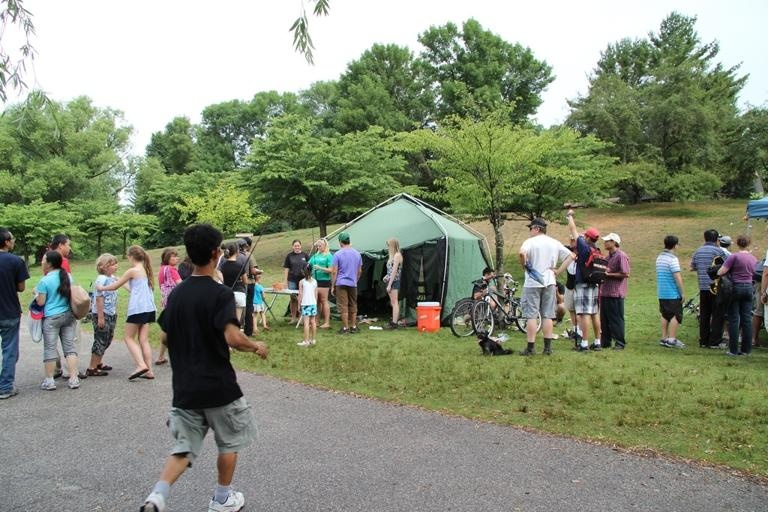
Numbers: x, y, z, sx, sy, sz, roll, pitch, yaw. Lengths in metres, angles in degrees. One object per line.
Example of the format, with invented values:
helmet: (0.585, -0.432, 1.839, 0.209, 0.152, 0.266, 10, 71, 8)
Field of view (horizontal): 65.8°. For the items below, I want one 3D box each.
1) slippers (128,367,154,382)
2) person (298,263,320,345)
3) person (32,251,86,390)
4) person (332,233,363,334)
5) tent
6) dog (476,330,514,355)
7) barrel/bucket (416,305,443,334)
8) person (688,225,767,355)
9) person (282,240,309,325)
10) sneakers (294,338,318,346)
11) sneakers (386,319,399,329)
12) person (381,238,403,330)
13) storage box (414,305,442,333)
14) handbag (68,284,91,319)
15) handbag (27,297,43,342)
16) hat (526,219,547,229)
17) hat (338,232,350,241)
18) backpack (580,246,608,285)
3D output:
slippers: (-4.130, 2.018, 10.088, 0.375, 0.140, 0.196, 3, -8, -3)
person: (-1.703, 1.030, 13.023, 0.388, 1.763, 0.840, -1, -3, -8)
person: (-5.328, 1.037, 9.660, 0.651, 2.219, 0.632, 0, -3, -28)
person: (-0.893, 0.639, 14.181, 0.675, 2.369, 0.828, -2, -3, -5)
tent: (1.752, -0.041, 17.466, 4.627, 3.285, 4.445, -3, 1, -39)
dog: (2.180, 1.725, 11.501, 0.611, 0.364, 0.351, -2, -3, 9)
barrel/bucket: (1.085, 1.470, 14.336, 0.546, 0.703, 0.514, -2, -3, 0)
person: (6.750, 0.665, 11.650, 0.714, 2.418, 1.093, -2, -3, 2)
person: (-2.190, 0.650, 15.163, 0.816, 2.074, 0.684, -2, 11, -12)
sneakers: (-1.650, 1.859, 12.727, 0.400, 0.158, 0.139, 3, -15, -24)
sneakers: (0.205, 1.741, 14.890, 0.377, 0.151, 0.139, 6, -11, -26)
person: (0.247, 0.706, 15.072, 0.529, 2.219, 1.422, -2, -3, 0)
storage box: (1.074, 1.484, 14.332, 0.615, 0.637, 0.622, -2, -8, 14)
handbag: (-4.983, 0.742, 9.700, 0.295, 0.553, 0.445, -16, 23, -37)
handbag: (-5.570, 1.019, 9.481, 0.181, 0.704, 0.343, 0, -3, -36)
hat: (2.971, -0.626, 11.425, 0.295, 0.146, 0.216, 10, 2, 20)
hat: (-0.950, -0.440, 14.181, 0.290, 0.150, 0.423, -1, 9, -8)
backpack: (4.083, 0.281, 11.662, 0.465, 0.773, 0.556, 4, -6, 35)
